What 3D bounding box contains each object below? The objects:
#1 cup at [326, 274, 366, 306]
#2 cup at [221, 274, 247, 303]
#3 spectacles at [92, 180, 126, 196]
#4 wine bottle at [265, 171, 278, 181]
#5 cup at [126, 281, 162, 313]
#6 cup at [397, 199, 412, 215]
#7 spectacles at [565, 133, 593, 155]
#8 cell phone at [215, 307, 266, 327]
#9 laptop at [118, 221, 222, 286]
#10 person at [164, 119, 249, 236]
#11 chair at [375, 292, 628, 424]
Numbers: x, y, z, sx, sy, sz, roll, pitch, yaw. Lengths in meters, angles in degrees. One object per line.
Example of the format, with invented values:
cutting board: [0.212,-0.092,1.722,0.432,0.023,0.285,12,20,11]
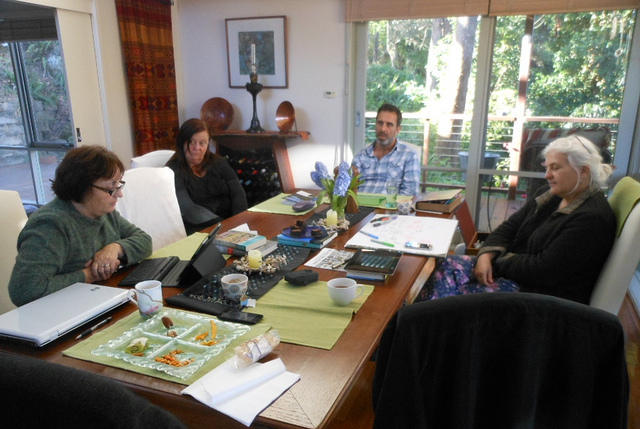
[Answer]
cup: [0.102,0.317,1.628,0.145,0.090,0.115,0,13,8]
cup: [-0.336,0.287,1.672,0.109,0.085,0.101,-1,21,0]
spectacles: [-0.962,-0.117,1.840,0.079,0.022,0.075,6,24,0]
wine bottle: [-0.531,-0.424,4.484,0.085,0.043,0.118,-25,18,20]
cup: [-0.681,0.329,1.571,0.142,0.119,0.088,-2,14,3]
cup: [0.557,-0.052,2.665,0.095,0.077,0.097,0,6,0]
spectacles: [1.395,-0.388,2.231,0.119,0.084,0.194,1,18,3]
cell phone: [-0.299,0.381,1.530,0.097,0.013,0.072,8,16,19]
laptop: [-0.696,0.213,1.865,0.307,0.180,0.313,6,17,7]
person: [-0.851,-0.256,3.164,0.612,0.903,0.789,-19,23,-41]
chair: [0.478,0.351,1.238,0.412,0.481,0.471,-1,27,4]
